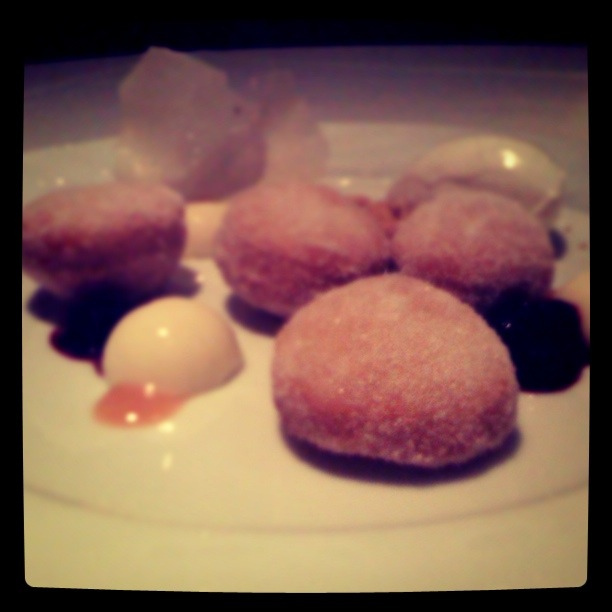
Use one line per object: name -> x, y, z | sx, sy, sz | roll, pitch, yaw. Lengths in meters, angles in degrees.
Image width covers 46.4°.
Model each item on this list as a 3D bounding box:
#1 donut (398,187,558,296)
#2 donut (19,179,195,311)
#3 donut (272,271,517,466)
donut -> 0.179, -0.068, 0.810 | 0.165, 0.209, 0.117 | 6, 85, -42
donut -> -0.201, -0.082, 0.812 | 0.130, 0.172, 0.089 | 10, 79, -17
donut -> 0.074, 0.071, 0.732 | 0.219, 0.118, 0.188 | -14, 74, -2
